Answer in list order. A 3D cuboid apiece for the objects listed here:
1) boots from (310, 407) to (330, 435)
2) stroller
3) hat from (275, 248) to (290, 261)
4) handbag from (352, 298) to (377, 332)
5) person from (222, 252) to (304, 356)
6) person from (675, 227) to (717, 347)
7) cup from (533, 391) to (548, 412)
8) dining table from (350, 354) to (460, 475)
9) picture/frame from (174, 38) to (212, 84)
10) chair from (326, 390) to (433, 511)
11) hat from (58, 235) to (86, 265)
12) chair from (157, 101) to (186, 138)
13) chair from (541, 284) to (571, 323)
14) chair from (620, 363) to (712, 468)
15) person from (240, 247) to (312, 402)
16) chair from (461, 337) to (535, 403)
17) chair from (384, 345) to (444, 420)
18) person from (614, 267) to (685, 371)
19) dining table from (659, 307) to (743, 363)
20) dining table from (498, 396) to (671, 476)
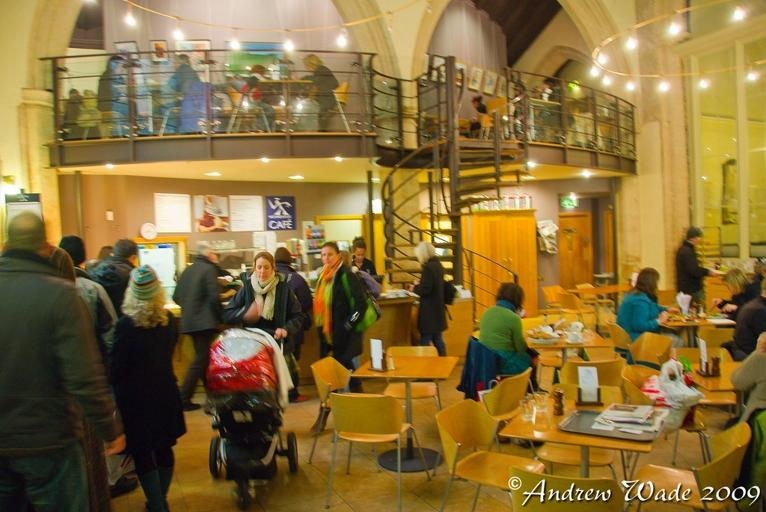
[{"bbox_3d":[-0.765,2.013,7.206,0.182,0.549,0.215,1,44,-6],"label":"boots"},{"bbox_3d":[-1.352,1.650,6.018,0.867,1.821,0.516,0,2,-16],"label":"stroller"},{"bbox_3d":[-1.422,-0.024,8.354,0.177,0.209,0.224,3,-3,4],"label":"hat"},{"bbox_3d":[-0.196,0.759,7.717,0.198,0.446,0.445,2,2,19],"label":"handbag"},{"bbox_3d":[-1.487,0.698,7.404,1.026,1.258,0.826,-2,21,-11],"label":"person"},{"bbox_3d":[6.085,0.583,11.496,0.792,2.182,0.837,-6,6,6],"label":"person"},{"bbox_3d":[1.489,1.375,5.634,0.178,0.167,0.177,-3,1,0],"label":"cup"},{"bbox_3d":[0.358,1.769,6.980,1.330,1.155,1.259,1,9,8],"label":"dining table"},{"bbox_3d":[-3.456,-3.561,10.753,0.651,1.056,0.039,-2,-28,-13],"label":"picture/frame"},{"bbox_3d":[-0.149,1.968,6.280,0.916,1.193,1.064,1,2,1],"label":"chair"},{"bbox_3d":[-3.158,-0.056,6.010,0.227,0.289,0.296,-13,43,-33],"label":"hat"},{"bbox_3d":[-3.748,-2.391,10.535,0.489,0.703,0.459,0,-19,-17],"label":"chair"},{"bbox_3d":[3.881,1.064,13.170,0.555,0.694,0.588,-6,10,12],"label":"chair"},{"bbox_3d":[2.831,1.583,5.713,0.744,1.018,0.706,-11,-36,38],"label":"chair"},{"bbox_3d":[-1.422,1.011,7.438,0.970,1.966,0.748,2,12,11],"label":"person"},{"bbox_3d":[1.301,1.426,7.042,0.705,0.599,0.595,8,-2,3],"label":"chair"},{"bbox_3d":[0.425,1.500,7.444,0.748,1.071,0.796,0,-21,1],"label":"chair"},{"bbox_3d":[3.809,0.977,8.489,0.976,1.553,0.732,-2,11,1],"label":"person"},{"bbox_3d":[4.507,1.042,8.359,1.105,0.733,0.859,0,0,-4],"label":"dining table"},{"bbox_3d":[1.861,1.582,5.555,1.164,0.773,0.935,-1,0,22],"label":"dining table"}]
